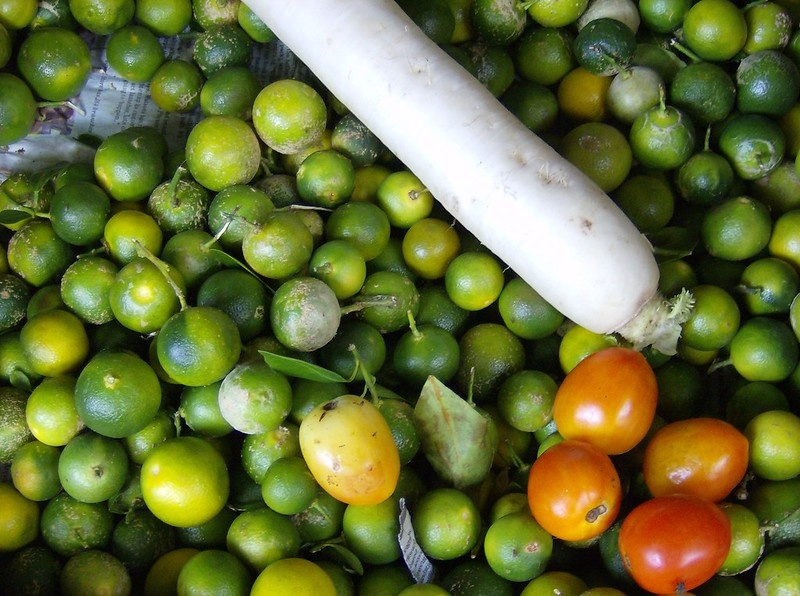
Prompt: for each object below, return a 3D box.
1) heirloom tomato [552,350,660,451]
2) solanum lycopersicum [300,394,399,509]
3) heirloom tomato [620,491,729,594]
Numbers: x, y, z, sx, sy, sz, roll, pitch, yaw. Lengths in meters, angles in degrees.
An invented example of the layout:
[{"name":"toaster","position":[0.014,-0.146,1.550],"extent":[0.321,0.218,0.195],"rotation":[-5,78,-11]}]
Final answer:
[{"name":"heirloom tomato","position":[0.502,0.232,2.150],"extent":[0.262,0.203,0.209],"rotation":[-35,97,1]},{"name":"solanum lycopersicum","position":[-0.095,0.386,2.043],"extent":[0.194,0.199,0.277],"rotation":[-14,62,-18]},{"name":"heirloom tomato","position":[0.618,0.559,1.969],"extent":[0.233,0.198,0.197],"rotation":[-11,50,-12]}]
